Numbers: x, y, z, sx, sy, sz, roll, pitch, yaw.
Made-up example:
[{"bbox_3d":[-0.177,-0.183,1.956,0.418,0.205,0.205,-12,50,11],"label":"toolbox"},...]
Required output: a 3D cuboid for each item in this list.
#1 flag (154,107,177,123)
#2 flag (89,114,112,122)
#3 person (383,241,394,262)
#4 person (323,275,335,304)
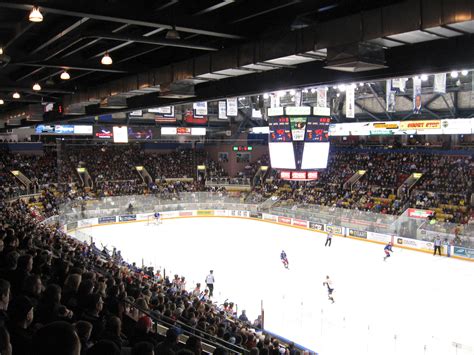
[{"bbox_3d":[-5.745,-5.163,38.752,1.550,1.160,1.099,-1,9,-6],"label":"flag"},{"bbox_3d":[-12.181,-5.323,43.236,1.852,0.588,3.384,-3,9,-15],"label":"flag"},{"bbox_3d":[8.725,4.168,27.983,0.485,1.083,2.244,3,9,17],"label":"person"},{"bbox_3d":[4.070,4.711,21.484,0.477,1.088,2.185,1,9,10],"label":"person"}]
